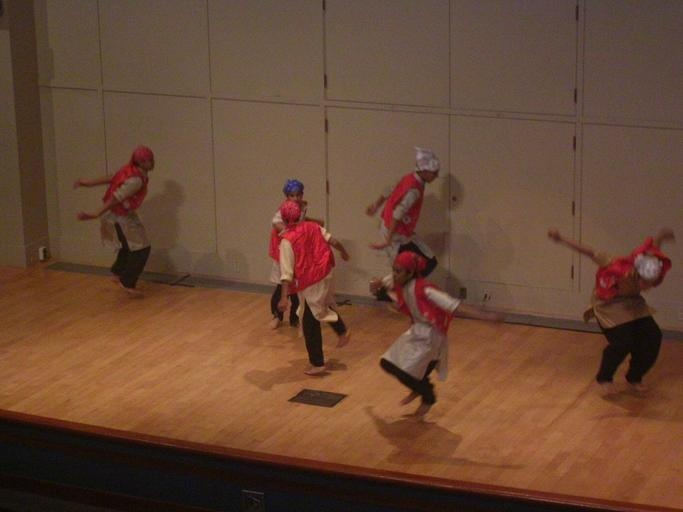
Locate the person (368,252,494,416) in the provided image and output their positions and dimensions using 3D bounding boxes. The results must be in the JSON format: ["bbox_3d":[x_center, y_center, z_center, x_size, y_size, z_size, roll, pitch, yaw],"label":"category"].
[{"bbox_3d":[0.575,0.594,3.812,0.722,1.221,0.416,13,19,37],"label":"person"}]

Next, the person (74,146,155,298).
[{"bbox_3d":[-2.501,-0.428,6.177,0.806,1.493,0.734,13,26,5],"label":"person"}]

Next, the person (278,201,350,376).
[{"bbox_3d":[-0.257,0.266,4.686,0.568,1.338,0.633,-3,15,-14],"label":"person"}]

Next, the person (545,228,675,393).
[{"bbox_3d":[2.181,0.444,4.606,0.999,0.891,0.500,-10,13,-29],"label":"person"}]
